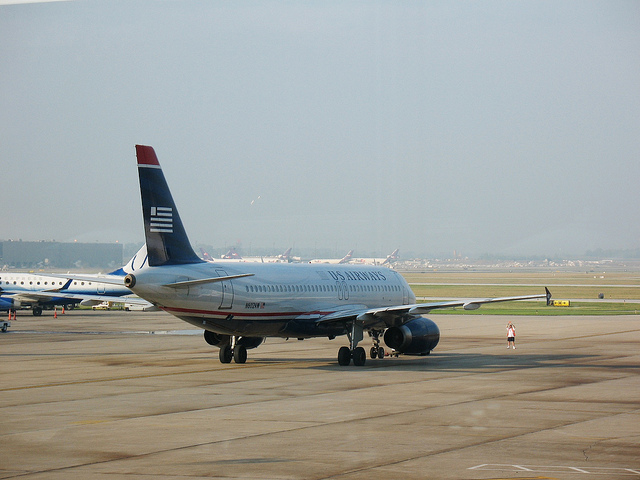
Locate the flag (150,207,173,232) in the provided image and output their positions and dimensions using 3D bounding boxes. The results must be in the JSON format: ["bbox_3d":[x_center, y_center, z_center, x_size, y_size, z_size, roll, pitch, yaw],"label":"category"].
[{"bbox_3d":[-5.966,-0.749,35.068,1.403,0.925,0.082,1,-4,-17],"label":"flag"}]
